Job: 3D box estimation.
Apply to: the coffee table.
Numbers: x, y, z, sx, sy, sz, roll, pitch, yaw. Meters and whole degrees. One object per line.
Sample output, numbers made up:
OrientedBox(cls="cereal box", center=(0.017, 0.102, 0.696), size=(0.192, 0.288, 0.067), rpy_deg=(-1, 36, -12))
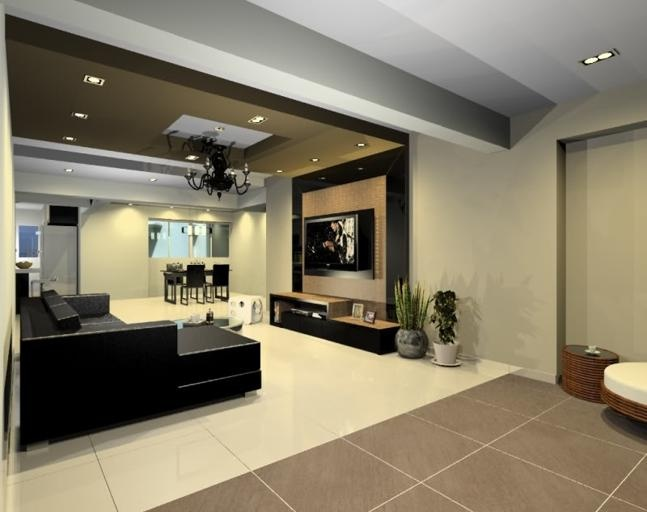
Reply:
OrientedBox(cls="coffee table", center=(2.603, 1.119, 4.429), size=(0.450, 0.522, 0.471), rpy_deg=(-1, 2, -4))

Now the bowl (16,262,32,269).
OrientedBox(cls="bowl", center=(-5.975, 0.175, 8.876), size=(0.185, 0.114, 0.183), rpy_deg=(-1, -1, 0))

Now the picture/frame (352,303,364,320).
OrientedBox(cls="picture/frame", center=(0.503, 0.807, 6.513), size=(0.030, 0.247, 0.200), rpy_deg=(7, -6, -42))

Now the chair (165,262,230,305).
OrientedBox(cls="chair", center=(-3.207, 0.656, 11.159), size=(1.140, 0.825, 1.131), rpy_deg=(1, -3, -37))

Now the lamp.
OrientedBox(cls="lamp", center=(-1.489, -1.236, 6.337), size=(0.899, 0.804, 0.887), rpy_deg=(0, -4, -21))

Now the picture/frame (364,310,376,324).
OrientedBox(cls="picture/frame", center=(0.651, 0.856, 6.261), size=(0.012, 0.126, 0.138), rpy_deg=(13, 1, -34))

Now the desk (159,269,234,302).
OrientedBox(cls="desk", center=(-3.199, 0.715, 11.135), size=(1.072, 0.745, 1.075), rpy_deg=(1, -4, -33))

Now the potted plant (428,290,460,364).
OrientedBox(cls="potted plant", center=(1.475, 0.858, 5.459), size=(0.346, 0.899, 0.547), rpy_deg=(2, 8, 14))

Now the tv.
OrientedBox(cls="tv", center=(0.269, -0.190, 6.843), size=(0.175, 0.813, 1.106), rpy_deg=(1, -2, -36))

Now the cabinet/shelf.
OrientedBox(cls="cabinet/shelf", center=(0.113, 0.992, 6.793), size=(0.434, 0.667, 2.633), rpy_deg=(-6, 10, -40))

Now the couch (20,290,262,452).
OrientedBox(cls="couch", center=(-1.931, 0.884, 4.515), size=(1.884, 0.866, 1.888), rpy_deg=(-5, 9, -33))
